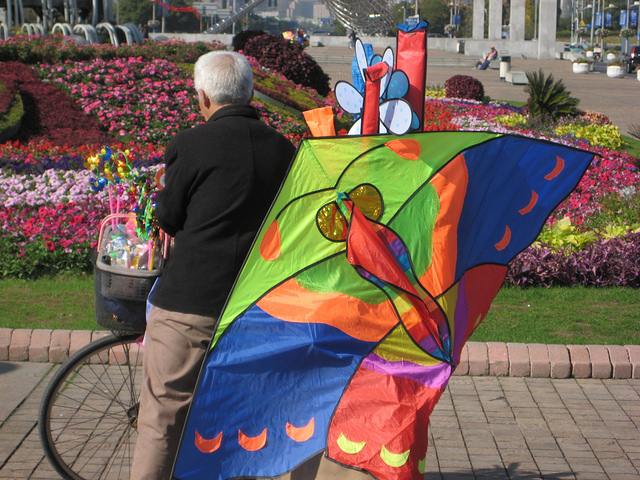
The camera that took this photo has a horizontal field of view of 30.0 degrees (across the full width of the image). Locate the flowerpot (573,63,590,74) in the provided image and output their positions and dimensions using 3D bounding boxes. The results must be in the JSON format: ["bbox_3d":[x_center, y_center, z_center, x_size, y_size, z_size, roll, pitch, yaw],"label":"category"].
[{"bbox_3d":[10.510,-6.963,48.073,0.593,0.452,0.670,3,15,9],"label":"flowerpot"}]

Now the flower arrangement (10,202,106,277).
[{"bbox_3d":[-3.307,-0.033,14.956,1.097,0.695,0.880,-2,15,-12],"label":"flower arrangement"}]

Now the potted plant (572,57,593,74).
[{"bbox_3d":[10.587,-7.090,48.135,0.576,0.655,0.613,0,0,-24],"label":"potted plant"}]

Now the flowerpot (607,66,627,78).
[{"bbox_3d":[11.285,-6.439,45.497,0.630,0.449,0.859,4,15,11],"label":"flowerpot"}]

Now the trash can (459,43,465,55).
[{"bbox_3d":[7.491,-10.227,63.311,0.281,0.497,0.732,2,15,6],"label":"trash can"}]

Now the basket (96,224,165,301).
[{"bbox_3d":[-1.721,0.134,11.257,0.545,0.660,0.733,-5,20,-36],"label":"basket"}]
